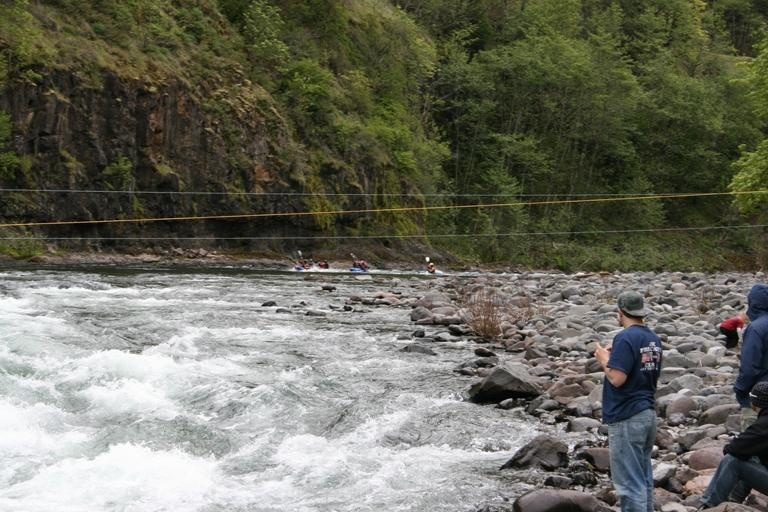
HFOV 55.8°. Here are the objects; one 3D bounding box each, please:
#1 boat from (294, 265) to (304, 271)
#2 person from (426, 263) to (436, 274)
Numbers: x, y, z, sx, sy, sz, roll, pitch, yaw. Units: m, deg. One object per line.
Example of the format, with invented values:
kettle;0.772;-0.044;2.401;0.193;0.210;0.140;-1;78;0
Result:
boat;-4.257;0.605;36.849;0.411;0.137;0.450;0;2;2
person;2.617;0.693;40.411;0.791;0.639;0.459;-2;-24;1
